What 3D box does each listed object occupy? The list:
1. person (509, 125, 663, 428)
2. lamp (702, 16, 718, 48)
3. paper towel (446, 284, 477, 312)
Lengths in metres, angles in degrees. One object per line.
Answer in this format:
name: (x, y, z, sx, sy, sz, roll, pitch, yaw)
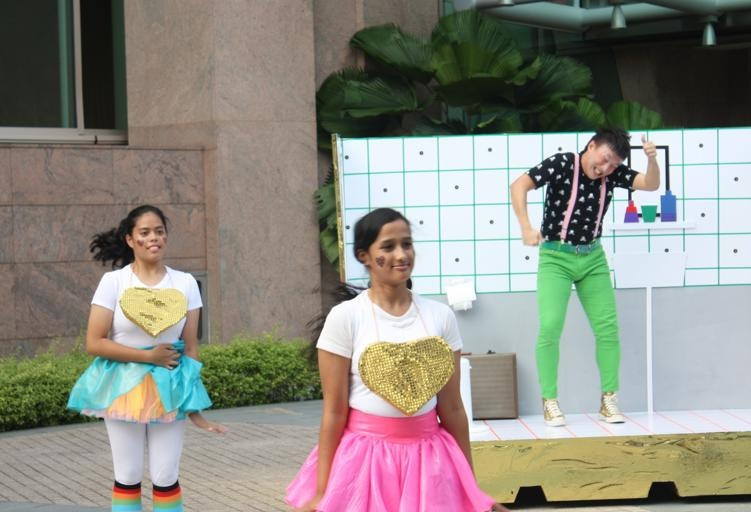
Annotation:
person: (1.795, 0.211, 7.945, 1.187, 2.598, 0.391, -2, 5, -5)
lamp: (5.047, -3.339, 13.806, 0.175, 0.358, 0.903, 0, 6, 19)
paper towel: (0.844, 0.390, 8.983, 0.241, 0.264, 0.257, -18, -17, 1)
